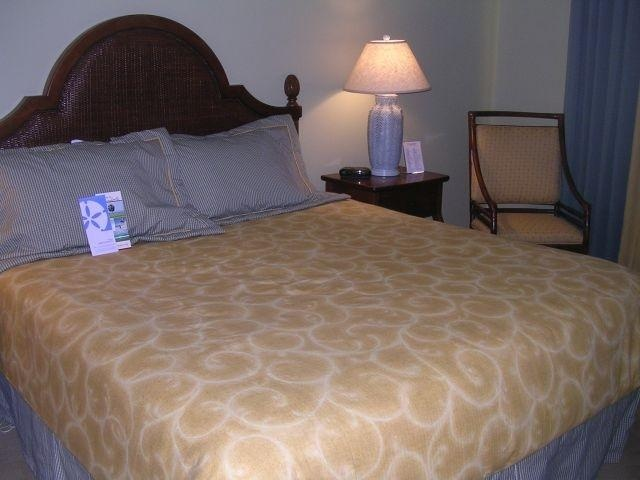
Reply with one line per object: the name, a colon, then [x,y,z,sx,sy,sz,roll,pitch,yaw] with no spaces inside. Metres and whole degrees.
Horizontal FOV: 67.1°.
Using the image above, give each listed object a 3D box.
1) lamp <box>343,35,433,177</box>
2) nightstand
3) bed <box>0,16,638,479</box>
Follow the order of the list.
lamp: [0.483,-0.957,3.496,0.606,0.949,0.605,9,25,25]
nightstand: [0.483,-0.483,3.440,0.571,0.540,0.449,-13,22,-36]
bed: [-0.049,-0.079,2.178,1.954,1.463,1.972,21,28,35]
